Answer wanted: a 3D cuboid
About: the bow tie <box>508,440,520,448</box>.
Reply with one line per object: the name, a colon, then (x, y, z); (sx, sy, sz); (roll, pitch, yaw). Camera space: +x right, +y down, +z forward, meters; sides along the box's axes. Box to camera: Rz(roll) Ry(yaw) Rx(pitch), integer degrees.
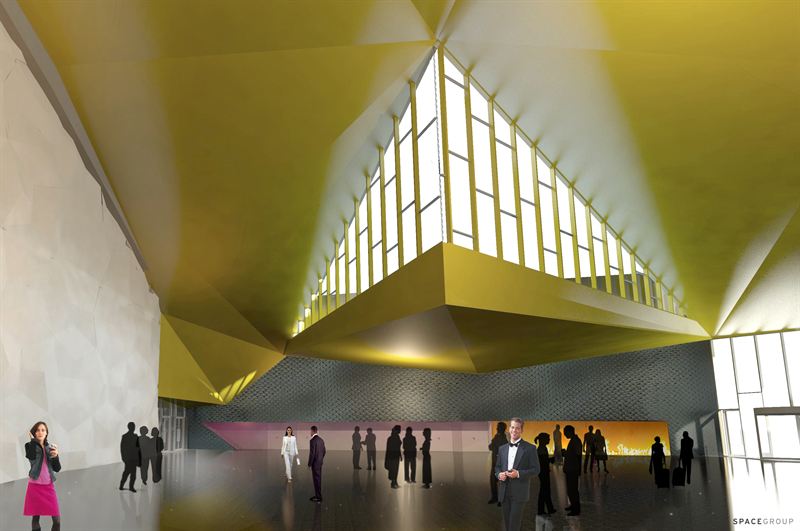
bow tie: (2.202, 3.441, 10.400); (0.232, 0.106, 0.124); (-12, -24, 23)
